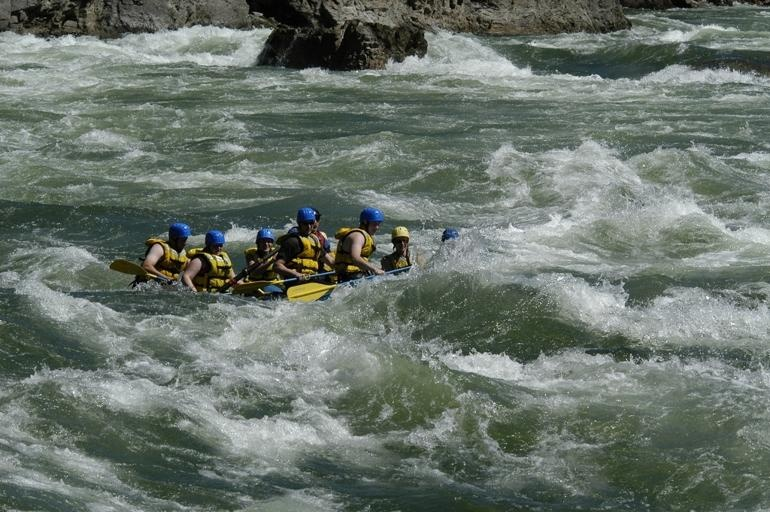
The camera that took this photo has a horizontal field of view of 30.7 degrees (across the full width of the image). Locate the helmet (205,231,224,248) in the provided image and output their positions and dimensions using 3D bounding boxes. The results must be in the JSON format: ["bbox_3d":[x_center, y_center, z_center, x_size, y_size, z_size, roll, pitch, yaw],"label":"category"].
[{"bbox_3d":[-3.491,-0.384,28.647,0.313,0.273,0.399,-4,22,-33],"label":"helmet"}]

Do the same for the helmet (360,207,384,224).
[{"bbox_3d":[-0.264,-0.831,29.106,0.447,0.274,0.313,15,17,21],"label":"helmet"}]

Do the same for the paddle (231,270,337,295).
[{"bbox_3d":[-2.132,0.527,28.559,2.401,0.288,0.129,-6,36,-19],"label":"paddle"}]

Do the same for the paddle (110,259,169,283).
[{"bbox_3d":[-5.000,0.288,28.614,1.304,0.215,0.125,13,37,-1],"label":"paddle"}]

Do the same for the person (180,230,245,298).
[{"bbox_3d":[-3.632,0.122,28.355,1.040,1.155,0.713,-10,20,-21],"label":"person"}]

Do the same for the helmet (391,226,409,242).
[{"bbox_3d":[0.315,-0.501,29.046,0.294,0.251,0.359,-1,-4,-2],"label":"helmet"}]

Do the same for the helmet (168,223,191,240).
[{"bbox_3d":[-4.248,-0.527,28.785,0.445,0.274,0.297,8,12,13],"label":"helmet"}]

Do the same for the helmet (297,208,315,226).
[{"bbox_3d":[-1.629,-0.846,28.834,0.398,0.311,0.305,-3,18,-3],"label":"helmet"}]
